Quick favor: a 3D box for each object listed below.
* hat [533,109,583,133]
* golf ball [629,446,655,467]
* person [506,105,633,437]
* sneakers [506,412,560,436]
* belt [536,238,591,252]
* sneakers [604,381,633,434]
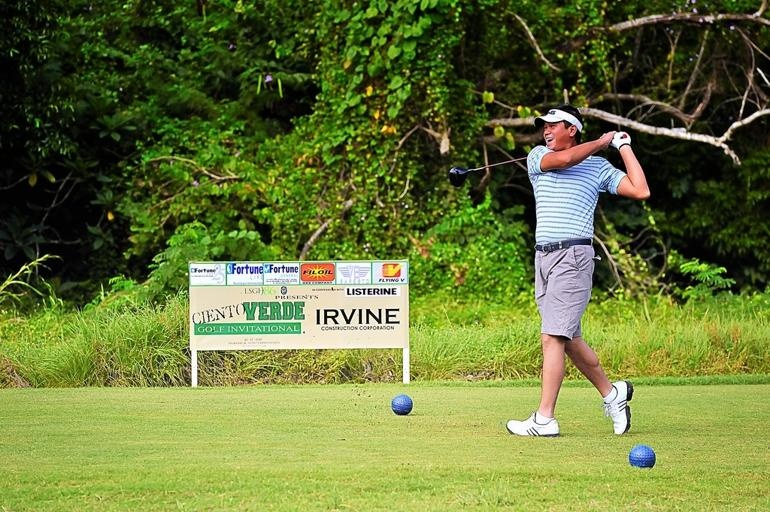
[{"bbox_3d":[1.735,-1.489,10.764,0.369,0.139,0.249,11,-9,-20],"label":"hat"},{"bbox_3d":[2.217,1.793,9.503,0.165,0.200,0.181,4,14,-1],"label":"golf ball"},{"bbox_3d":[1.803,0.049,10.548,1.231,3.391,0.658,-3,-2,5],"label":"person"},{"bbox_3d":[1.394,1.635,10.356,0.475,0.260,0.211,4,-8,10],"label":"sneakers"},{"bbox_3d":[1.722,-0.167,10.571,0.527,0.124,0.106,-4,-3,9],"label":"belt"},{"bbox_3d":[2.237,1.473,10.403,0.234,0.614,0.186,4,-11,-20],"label":"sneakers"}]
